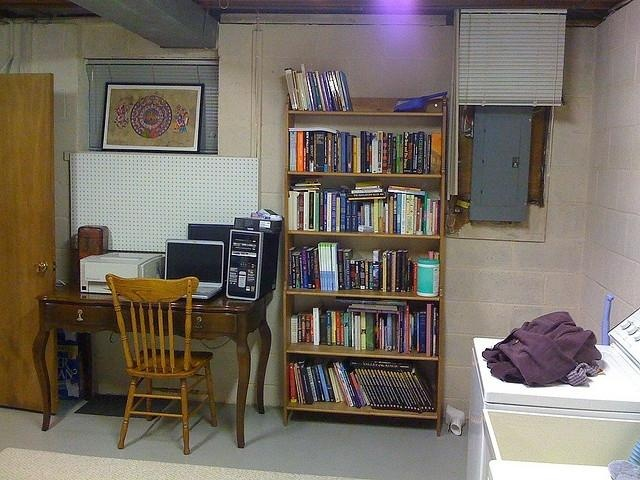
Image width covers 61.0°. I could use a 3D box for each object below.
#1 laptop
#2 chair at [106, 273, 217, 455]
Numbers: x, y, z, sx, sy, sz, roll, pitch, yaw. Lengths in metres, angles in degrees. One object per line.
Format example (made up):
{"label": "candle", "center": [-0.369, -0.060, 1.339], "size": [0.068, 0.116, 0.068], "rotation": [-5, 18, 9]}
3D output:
{"label": "laptop", "center": [-0.918, 0.174, 4.123], "size": [0.480, 0.395, 0.386], "rotation": [1, 3, 3]}
{"label": "chair", "center": [-1.102, 0.783, 3.917], "size": [0.693, 1.254, 0.900], "rotation": [-1, 13, -12]}
